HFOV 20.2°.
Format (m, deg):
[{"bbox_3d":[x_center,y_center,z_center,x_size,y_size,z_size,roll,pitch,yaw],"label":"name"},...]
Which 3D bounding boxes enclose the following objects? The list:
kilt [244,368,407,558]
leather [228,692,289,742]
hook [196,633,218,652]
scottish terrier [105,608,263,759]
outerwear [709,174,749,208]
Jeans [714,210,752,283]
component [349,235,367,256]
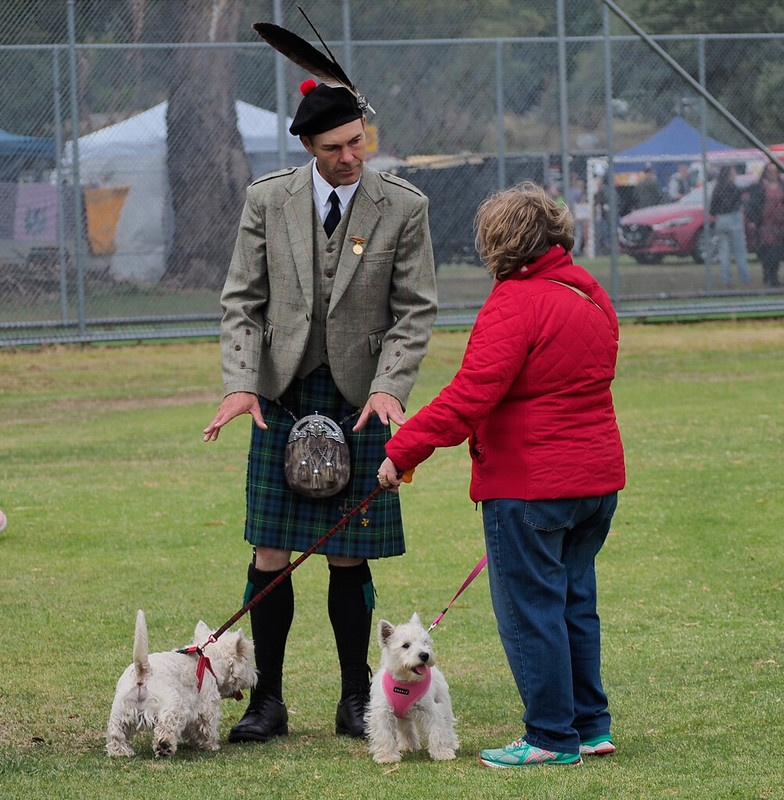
[{"bbox_3d":[-0.259,0.252,7.881,0.448,0.729,0.539,-4,19,-18],"label":"kilt"},{"bbox_3d":[-0.460,1.115,7.682,0.096,0.128,0.243,-2,-8,22],"label":"leather"},{"bbox_3d":[-0.638,0.835,7.616,0.106,0.033,0.025,-46,15,24],"label":"hook"},{"bbox_3d":[-0.697,0.985,7.595,0.285,0.493,0.596,0,-2,32],"label":"scottish terrier"},{"bbox_3d":[1.574,-0.992,10.494,0.128,0.146,0.030,4,-14,46],"label":"outerwear"},{"bbox_3d":[1.610,-0.729,10.418,0.137,0.321,0.307,-1,14,4],"label":"Jeans"},{"bbox_3d":[-0.122,-0.553,7.730,0.060,0.083,0.015,-1,-4,-2],"label":"component"}]
